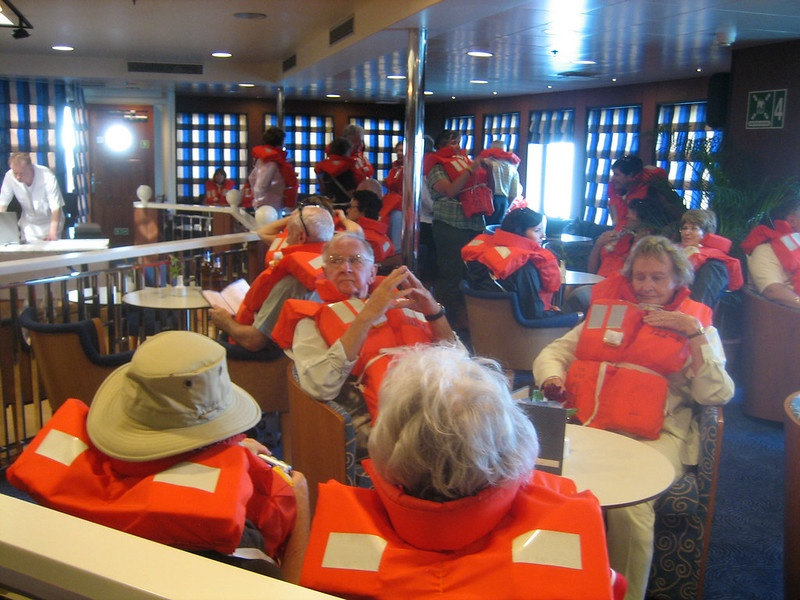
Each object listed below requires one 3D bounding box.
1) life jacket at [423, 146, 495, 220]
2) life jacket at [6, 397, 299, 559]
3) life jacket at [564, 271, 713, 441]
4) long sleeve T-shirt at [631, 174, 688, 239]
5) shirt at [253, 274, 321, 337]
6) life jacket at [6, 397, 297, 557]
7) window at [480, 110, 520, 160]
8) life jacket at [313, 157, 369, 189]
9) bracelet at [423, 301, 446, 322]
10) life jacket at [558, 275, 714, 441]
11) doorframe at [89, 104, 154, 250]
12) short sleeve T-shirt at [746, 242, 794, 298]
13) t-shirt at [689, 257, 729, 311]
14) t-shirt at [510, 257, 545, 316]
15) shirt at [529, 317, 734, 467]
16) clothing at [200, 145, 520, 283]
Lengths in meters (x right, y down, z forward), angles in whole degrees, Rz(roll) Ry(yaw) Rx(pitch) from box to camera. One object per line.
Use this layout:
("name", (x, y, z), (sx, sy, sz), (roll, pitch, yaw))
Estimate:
("life jacket", (0.636, -1.200, 6.393), (0.532, 0.795, 0.341), (-21, -3, -44))
("life jacket", (-0.616, 0.483, 1.587), (0.574, 0.217, 0.417), (23, 15, -9))
("life jacket", (1.058, 0.268, 2.948), (0.574, 0.312, 0.802), (9, 54, 27))
("long sleeve T-shirt", (2.502, -0.935, 6.110), (0.253, 0.612, 0.496), (-11, -17, 0))
("shirt", (-0.600, 0.074, 3.536), (0.330, 0.333, 0.134), (45, 7, 37))
("life jacket", (-0.620, 0.444, 1.580), (0.571, 0.216, 0.418), (23, 17, -6))
("window", (2.013, -3.216, 12.419), (0.809, 0.701, 0.112), (13, 15, 43))
("life jacket", (-0.692, -1.507, 7.825), (0.557, 0.233, 0.463), (12, 27, -24))
("bracelet", (0.167, 0.055, 3.095), (0.086, 0.031, 0.086), (-27, 26, 44))
("life jacket", (1.046, 0.245, 2.924), (0.587, 0.308, 0.792), (8, 55, 29))
("doorframe", (-5.449, -2.294, 12.360), (1.204, 3.074, 0.294), (-10, 40, -38))
("short sleeve T-shirt", (2.654, -0.215, 4.546), (0.180, 0.248, 0.352), (-26, -1, 25))
("t-shirt", (2.137, -0.131, 4.423), (0.168, 0.292, 0.293), (22, -24, -4))
("t-shirt", (0.898, -0.071, 4.430), (0.124, 0.341, 0.280), (-9, 3, 36))
("shirt", (1.079, 0.388, 2.910), (0.767, 0.516, 0.514), (7, 15, 29))
("clothing", (0.050, -0.944, 6.827), (2.133, 1.833, 1.555), (-1, 9, 2))
